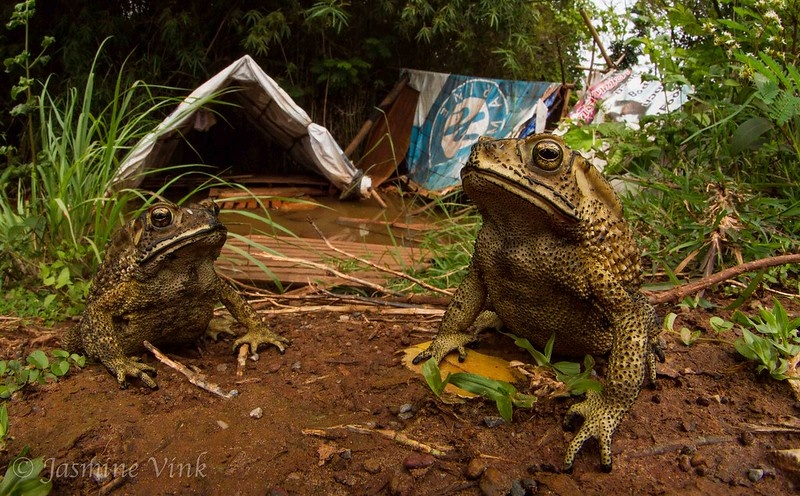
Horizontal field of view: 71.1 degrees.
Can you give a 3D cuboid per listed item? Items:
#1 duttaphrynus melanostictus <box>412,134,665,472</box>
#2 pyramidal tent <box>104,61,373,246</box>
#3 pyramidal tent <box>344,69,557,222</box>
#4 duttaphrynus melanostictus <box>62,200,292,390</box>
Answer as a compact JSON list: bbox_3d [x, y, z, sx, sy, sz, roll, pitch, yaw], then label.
[{"bbox_3d":[0.836,0.132,2.799,0.593,1.106,1.346,-14,47,-45],"label":"duttaphrynus melanostictus"},{"bbox_3d":[-1.732,-1.145,6.275,2.988,1.432,2.894,-1,0,-10],"label":"pyramidal tent"},{"bbox_3d":[0.779,-1.687,7.677,2.615,1.740,0.365,12,-4,13],"label":"pyramidal tent"},{"bbox_3d":[-1.380,0.234,3.347,1.141,0.840,1.052,2,5,40],"label":"duttaphrynus melanostictus"}]
